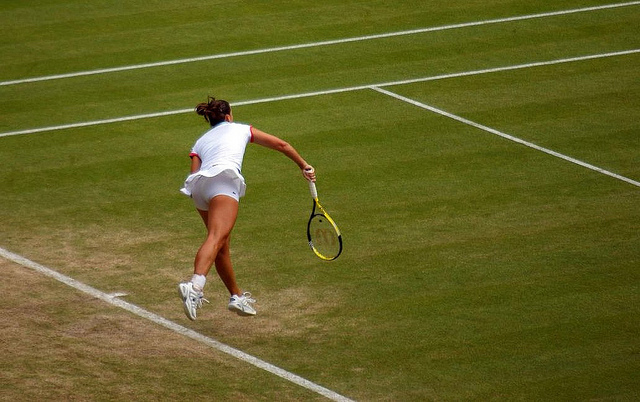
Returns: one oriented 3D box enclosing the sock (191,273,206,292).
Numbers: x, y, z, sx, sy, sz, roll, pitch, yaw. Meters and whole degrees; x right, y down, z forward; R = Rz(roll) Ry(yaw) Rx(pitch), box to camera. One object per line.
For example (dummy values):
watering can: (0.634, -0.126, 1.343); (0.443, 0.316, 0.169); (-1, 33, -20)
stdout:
sock: (-1.612, 1.075, 17.517); (0.178, 0.235, 0.139); (-2, 19, -4)
